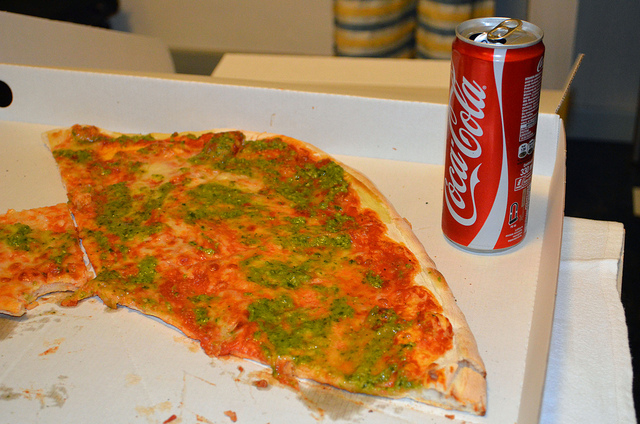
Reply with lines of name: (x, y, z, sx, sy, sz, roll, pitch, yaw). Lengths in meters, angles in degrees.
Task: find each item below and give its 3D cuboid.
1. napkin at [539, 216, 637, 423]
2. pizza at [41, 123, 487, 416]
napkin: (0.721, 0.264, 1.527, 0.207, 0.110, 0.694, 13, 40, 16)
pizza: (-0.072, 0.090, 1.540, 1.219, 0.132, 0.672, 26, 55, 16)
